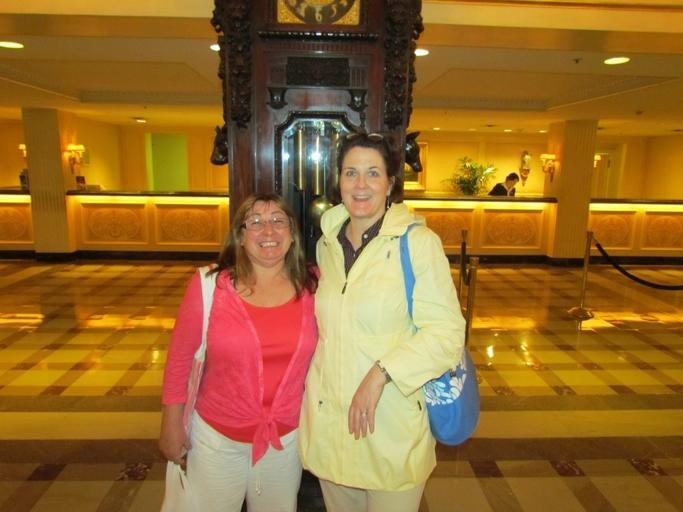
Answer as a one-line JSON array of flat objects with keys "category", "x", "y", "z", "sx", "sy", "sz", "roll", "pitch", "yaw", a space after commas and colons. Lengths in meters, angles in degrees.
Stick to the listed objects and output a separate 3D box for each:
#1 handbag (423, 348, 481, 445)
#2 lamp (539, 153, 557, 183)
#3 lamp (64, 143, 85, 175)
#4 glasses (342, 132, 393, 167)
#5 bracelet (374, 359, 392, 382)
[{"category": "handbag", "x": 0.553, "y": 0.695, "z": 2.524, "sx": 0.278, "sy": 0.460, "sz": 0.160, "roll": -6, "pitch": 13, "yaw": -27}, {"category": "lamp", "x": 3.893, "y": -1.682, "z": 9.957, "sx": 0.242, "sy": 0.527, "sz": 0.432, "roll": 2, "pitch": 11, "yaw": 7}, {"category": "lamp", "x": -4.751, "y": -1.732, "z": 9.406, "sx": 0.223, "sy": 0.548, "sz": 0.398, "roll": 0, "pitch": 11, "yaw": -2}, {"category": "glasses", "x": 0.136, "y": -0.544, "z": 2.602, "sx": 0.181, "sy": 0.175, "sz": 0.053, "roll": 1, "pitch": 26, "yaw": -1}, {"category": "bracelet", "x": 0.190, "y": 0.525, "z": 2.391, "sx": 0.026, "sy": 0.086, "sz": 0.087, "roll": -38, "pitch": 39, "yaw": -11}]
